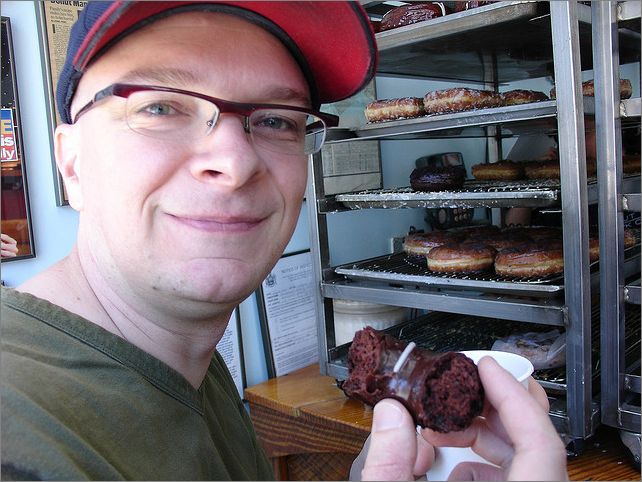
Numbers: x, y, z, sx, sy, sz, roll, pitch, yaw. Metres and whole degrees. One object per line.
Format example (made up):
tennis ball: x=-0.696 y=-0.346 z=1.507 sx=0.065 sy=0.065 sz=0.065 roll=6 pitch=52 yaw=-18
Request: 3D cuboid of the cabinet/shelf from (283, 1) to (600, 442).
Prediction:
cabinet/shelf: x=0.737 y=-0.191 z=2.660 sx=1.641 sy=1.832 sz=1.461 roll=1 pitch=4 yaw=36
